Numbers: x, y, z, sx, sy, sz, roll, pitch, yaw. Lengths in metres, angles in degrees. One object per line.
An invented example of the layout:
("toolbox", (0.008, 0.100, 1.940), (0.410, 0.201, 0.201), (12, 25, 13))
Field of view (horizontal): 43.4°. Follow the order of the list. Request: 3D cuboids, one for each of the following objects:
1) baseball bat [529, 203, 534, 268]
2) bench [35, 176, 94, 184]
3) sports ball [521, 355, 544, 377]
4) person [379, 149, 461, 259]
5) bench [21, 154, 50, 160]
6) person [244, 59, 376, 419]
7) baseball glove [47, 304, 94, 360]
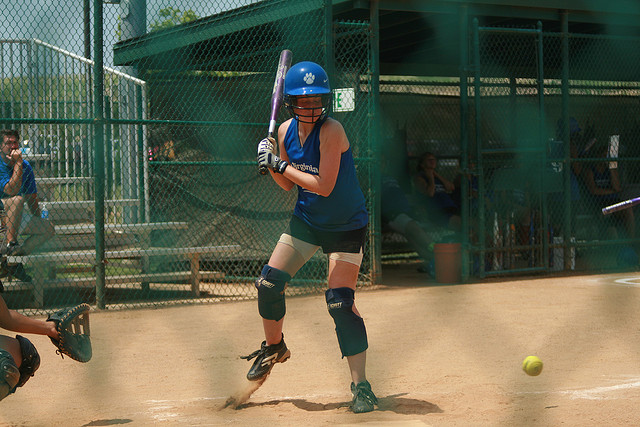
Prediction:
("baseball bat", (3.358, 0.350, 12.756), (0.073, 1.015, 0.136), (1, 10, 16))
("bench", (-3.826, -0.508, 12.137), (1.002, 0.121, 0.343), (1, 11, 15))
("sports ball", (2.259, 1.629, 8.547), (0.186, 0.208, 0.237), (31, -5, 27))
("person", (1.408, -0.075, 13.356), (0.990, 1.441, 2.458), (-4, 11, -12))
("bench", (-4.569, -0.915, 13.009), (0.393, 0.097, 0.185), (1, 11, 13))
("person", (-0.061, 0.226, 8.051), (1.196, 3.401, 0.773), (-1, 10, 5))
("baseball glove", (-2.419, 1.200, 8.002), (0.387, 0.211, 0.561), (-20, 61, -32))
